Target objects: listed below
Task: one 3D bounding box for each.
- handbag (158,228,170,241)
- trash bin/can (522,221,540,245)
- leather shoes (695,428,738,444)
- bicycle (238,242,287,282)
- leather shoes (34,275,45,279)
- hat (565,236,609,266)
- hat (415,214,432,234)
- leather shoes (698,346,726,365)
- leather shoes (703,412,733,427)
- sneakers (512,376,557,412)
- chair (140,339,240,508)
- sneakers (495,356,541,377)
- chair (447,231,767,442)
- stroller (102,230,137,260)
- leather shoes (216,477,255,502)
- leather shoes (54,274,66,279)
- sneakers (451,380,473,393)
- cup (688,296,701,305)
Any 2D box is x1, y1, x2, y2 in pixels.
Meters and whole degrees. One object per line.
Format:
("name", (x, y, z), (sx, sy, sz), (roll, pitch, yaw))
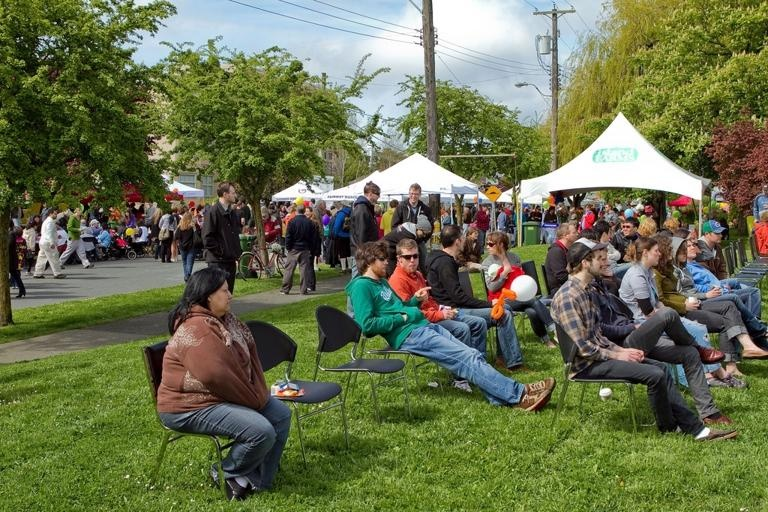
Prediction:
("handbag", (-7.917, -0.762, 23.804), (0.450, 0.493, 0.311), (-8, 12, -41))
("trash bin/can", (6.684, -0.998, 30.152), (0.951, 1.433, 0.943), (-1, -4, 17))
("leather shoes", (3.720, 2.004, 7.500), (0.451, 0.140, 0.182), (-7, -8, 9))
("bicycle", (-3.555, 0.155, 19.542), (1.834, 1.060, 0.725), (-10, 11, -39))
("leather shoes", (-10.331, 0.639, 19.913), (0.283, 0.128, 0.115), (-2, 2, 2))
("hat", (2.373, -0.078, 7.868), (0.448, 0.239, 0.286), (-33, 7, -1))
("hat", (0.660, -0.499, 11.083), (0.228, 0.263, 0.311), (6, 3, -20))
("leather shoes", (4.138, 1.261, 8.419), (0.484, 0.215, 0.213), (-6, 9, 35))
("leather shoes", (3.897, 1.907, 7.777), (0.320, 0.132, 0.147), (-2, 3, 5))
("sneakers", (1.849, 1.715, 8.240), (0.292, 0.634, 0.249), (41, 16, -8))
("chair", (-1.974, 1.555, 6.872), (1.107, 1.509, 0.817), (3, 12, 16))
("sneakers", (1.909, 1.615, 9.593), (0.579, 0.266, 0.212), (-3, -1, 20))
("chair", (2.887, 1.165, 8.767), (2.534, 2.821, 1.543), (-4, -1, 18))
("stroller", (-10.296, -0.412, 25.917), (1.226, 1.279, 0.823), (-7, 12, -30))
("leather shoes", (-1.468, 2.331, 6.592), (0.364, 0.146, 0.138), (34, -8, 37))
("leather shoes", (-9.672, 0.603, 19.819), (0.267, 0.128, 0.155), (-5, 3, -5))
("sneakers", (1.049, 1.752, 8.948), (0.269, 0.125, 0.100), (2, -18, 47))
("cup", (4.446, 0.653, 9.506), (0.145, 0.132, 0.094), (4, 3, 39))
